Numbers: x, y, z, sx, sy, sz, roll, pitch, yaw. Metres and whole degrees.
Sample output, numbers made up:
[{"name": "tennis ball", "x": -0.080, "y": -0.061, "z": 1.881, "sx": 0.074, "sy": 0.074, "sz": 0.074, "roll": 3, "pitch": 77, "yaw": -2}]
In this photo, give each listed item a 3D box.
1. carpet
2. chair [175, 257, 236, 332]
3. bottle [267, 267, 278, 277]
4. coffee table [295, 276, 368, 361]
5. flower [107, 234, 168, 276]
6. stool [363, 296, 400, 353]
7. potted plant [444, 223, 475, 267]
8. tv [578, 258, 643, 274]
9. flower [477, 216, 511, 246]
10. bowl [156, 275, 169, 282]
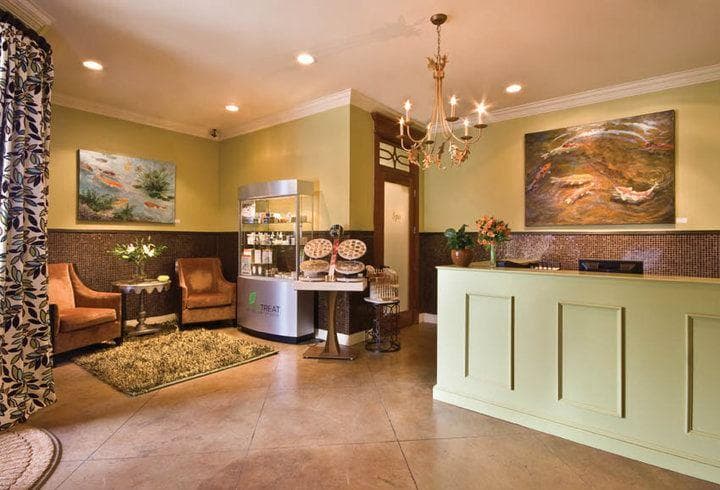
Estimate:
[{"name": "carpet", "x": -2.528, "y": 1.501, "z": 6.431, "sx": 2.013, "sy": 0.358, "sz": 1.901, "roll": -1, "pitch": 0, "yaw": -45}, {"name": "chair", "x": -2.513, "y": 0.758, "z": 7.791, "sx": 0.884, "sy": 1.129, "sz": 0.856, "roll": -1, "pitch": 0, "yaw": -24}, {"name": "bottle", "x": -1.319, "y": 0.415, "z": 7.258, "sx": 0.145, "sy": 0.144, "sz": 0.154, "roll": -6, "pitch": -9, "yaw": 38}, {"name": "coffee table", "x": -0.475, "y": 0.977, "z": 6.635, "sx": 1.060, "sy": 1.105, "sz": 1.022, "roll": 0, "pitch": 0, "yaw": 3}, {"name": "flower", "x": -3.481, "y": 0.172, "z": 7.562, "sx": 0.803, "sy": 0.689, "sz": 0.724, "roll": -1, "pitch": 0, "yaw": -26}, {"name": "stool", "x": 0.323, "y": 1.106, "z": 6.938, "sx": 0.519, "sy": 0.770, "sz": 1.034, "roll": -1, "pitch": 0, "yaw": 4}, {"name": "potted plant", "x": 1.118, "y": 0.001, "z": 5.341, "sx": 0.289, "sy": 0.453, "sz": 0.440, "roll": -1, "pitch": 0, "yaw": 13}, {"name": "tv", "x": 2.543, "y": 0.220, "z": 4.878, "sx": 0.563, "sy": 0.138, "sz": 0.417, "roll": -1, "pitch": 0, "yaw": 26}, {"name": "flower", "x": 1.480, "y": -0.165, "z": 5.347, "sx": 0.372, "sy": 0.369, "sz": 0.354, "roll": -1, "pitch": 4, "yaw": -15}, {"name": "bowl", "x": -3.069, "y": 0.521, "z": 7.414, "sx": 0.135, "sy": 0.053, "sz": 0.131, "roll": -3, "pitch": -7, "yaw": 0}]
